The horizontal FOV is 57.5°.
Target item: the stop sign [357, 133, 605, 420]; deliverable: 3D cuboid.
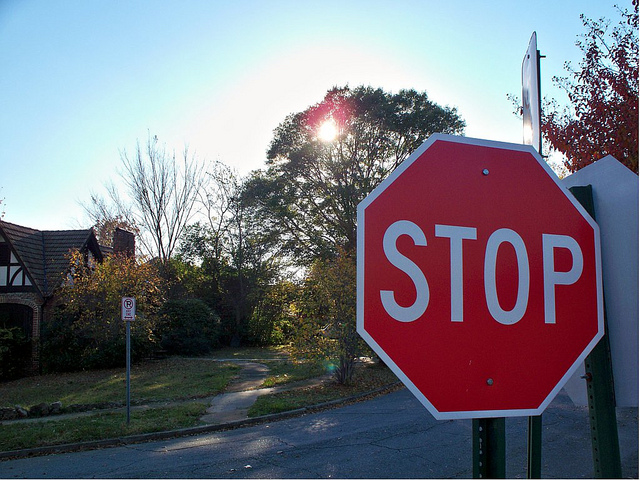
[{"bbox_3d":[0.864,0.177,3.131,1.378,1.520,0.116,-1,-4,-9],"label":"stop sign"}]
